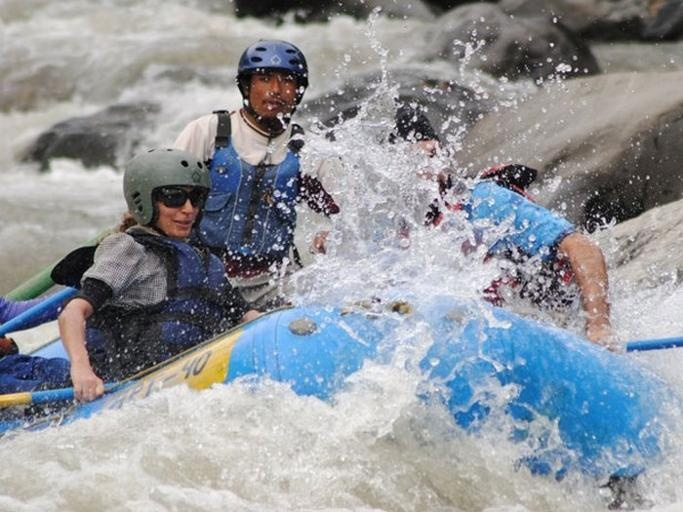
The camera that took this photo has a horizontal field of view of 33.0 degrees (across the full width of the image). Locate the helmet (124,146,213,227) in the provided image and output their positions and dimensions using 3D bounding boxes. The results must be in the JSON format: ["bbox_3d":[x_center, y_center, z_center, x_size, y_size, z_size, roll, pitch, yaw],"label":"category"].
[{"bbox_3d":[-0.933,-0.395,6.544,0.456,0.361,0.385,-3,83,23],"label":"helmet"}]

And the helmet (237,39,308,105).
[{"bbox_3d":[-0.413,-1.196,7.079,0.326,0.422,0.391,3,49,-8],"label":"helmet"}]

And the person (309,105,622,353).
[{"bbox_3d":[0.745,-0.128,6.737,1.821,0.916,0.882,32,74,7],"label":"person"}]
